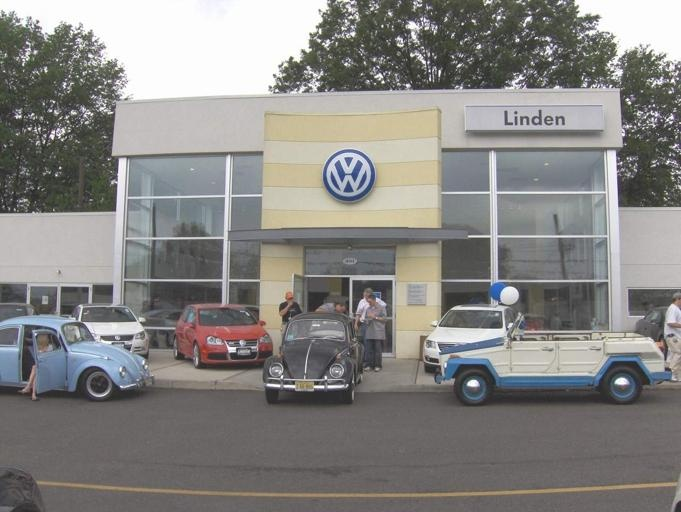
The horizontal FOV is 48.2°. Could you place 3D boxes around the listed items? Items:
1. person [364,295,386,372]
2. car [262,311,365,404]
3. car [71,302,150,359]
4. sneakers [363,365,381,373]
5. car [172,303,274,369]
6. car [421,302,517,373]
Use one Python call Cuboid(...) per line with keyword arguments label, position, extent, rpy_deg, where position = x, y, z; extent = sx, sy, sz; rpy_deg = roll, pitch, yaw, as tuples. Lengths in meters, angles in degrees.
Cuboid(label="person", position=(0.998, 2.246, 22.233), extent=(0.590, 2.329, 0.430), rpy_deg=(-1, 10, 1))
Cuboid(label="car", position=(-0.654, 2.685, 18.879), extent=(2.152, 1.901, 2.555), rpy_deg=(1, 11, 11))
Cuboid(label="car", position=(-6.900, 2.220, 23.486), extent=(1.223, 1.120, 2.823), rpy_deg=(3, -6, -29))
Cuboid(label="sneakers", position=(0.858, 3.339, 22.342), extent=(0.563, 0.270, 0.181), rpy_deg=(-6, -4, 21))
Cuboid(label="car", position=(-3.596, 2.429, 23.400), extent=(2.194, 1.450, 2.891), rpy_deg=(-7, 12, -30))
Cuboid(label="car", position=(3.633, 2.218, 21.714), extent=(1.375, 1.238, 2.949), rpy_deg=(-4, -10, 24))
